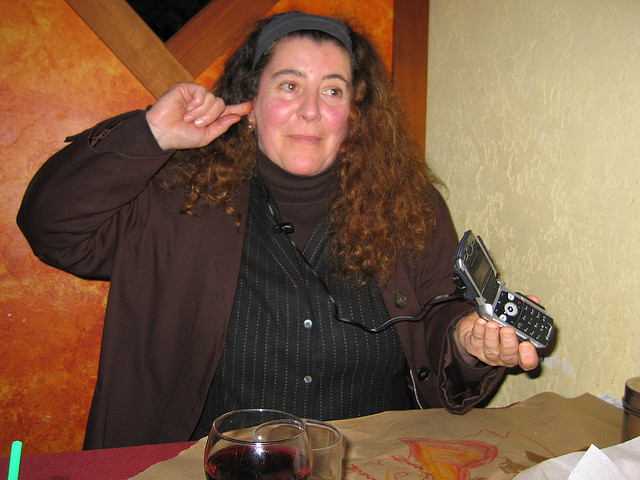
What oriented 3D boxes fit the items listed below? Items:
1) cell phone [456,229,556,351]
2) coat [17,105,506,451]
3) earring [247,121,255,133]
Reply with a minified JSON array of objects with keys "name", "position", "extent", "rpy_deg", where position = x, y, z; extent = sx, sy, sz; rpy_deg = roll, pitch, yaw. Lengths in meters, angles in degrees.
[{"name":"cell phone","position":[0.380,0.098,1.177],"extent":[0.223,0.131,0.138],"rpy_deg":[27,42,24]},{"name":"coat","position":[-0.224,-0.020,1.757],"extent":[0.996,1.301,0.798],"rpy_deg":[8,-26,-24]},{"name":"earring","position":[-0.189,-0.312,1.591],"extent":[0.023,0.033,0.011],"rpy_deg":[-1,4,-5]}]
